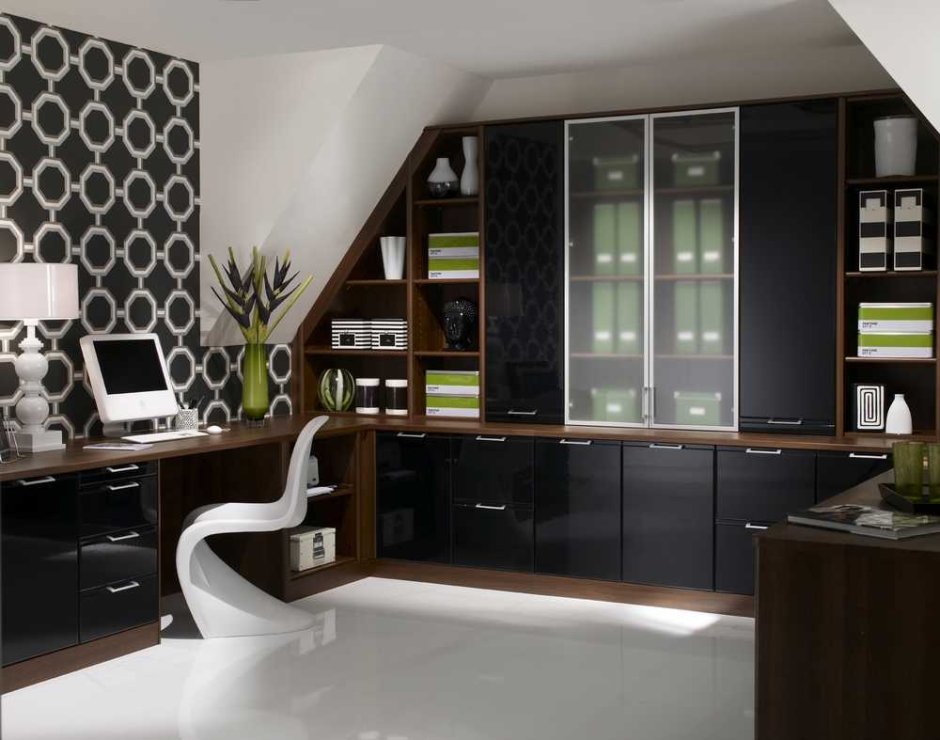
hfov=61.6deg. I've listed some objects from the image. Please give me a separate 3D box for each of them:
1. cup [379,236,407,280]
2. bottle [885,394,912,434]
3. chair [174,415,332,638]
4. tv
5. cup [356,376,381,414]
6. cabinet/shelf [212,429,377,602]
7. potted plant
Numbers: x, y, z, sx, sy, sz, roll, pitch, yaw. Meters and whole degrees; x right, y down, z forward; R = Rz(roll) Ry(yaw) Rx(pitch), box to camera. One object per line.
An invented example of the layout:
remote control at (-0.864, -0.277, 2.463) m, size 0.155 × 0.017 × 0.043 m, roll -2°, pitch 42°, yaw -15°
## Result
cup at (-0.476, -0.724, 5.215) m, size 0.224 × 0.341 × 0.250 m, roll -1°, pitch 0°, yaw -3°
bottle at (2.252, 0.239, 4.183) m, size 0.120 × 0.216 × 0.090 m, roll 1°, pitch 2°, yaw 31°
chair at (-1.133, 0.787, 4.100) m, size 0.748 × 1.080 × 0.579 m, roll 1°, pitch 0°, yaw -11°
tv at (-1.769, 0.084, 4.116) m, size 0.170 × 0.513 × 0.479 m, roll -15°, pitch -6°, yaw 31°
cup at (-0.677, 0.179, 5.295) m, size 0.188 × 0.238 × 0.202 m, roll 0°, pitch 0°, yaw 0°
cabinet/shelf at (-0.991, 0.874, 5.296) m, size 0.692 × 0.901 × 0.936 m, roll 4°, pitch -10°, yaw -3°
potted plant at (-1.204, -0.198, 4.827) m, size 0.586 × 1.083 × 0.670 m, roll -1°, pitch -16°, yaw 2°
